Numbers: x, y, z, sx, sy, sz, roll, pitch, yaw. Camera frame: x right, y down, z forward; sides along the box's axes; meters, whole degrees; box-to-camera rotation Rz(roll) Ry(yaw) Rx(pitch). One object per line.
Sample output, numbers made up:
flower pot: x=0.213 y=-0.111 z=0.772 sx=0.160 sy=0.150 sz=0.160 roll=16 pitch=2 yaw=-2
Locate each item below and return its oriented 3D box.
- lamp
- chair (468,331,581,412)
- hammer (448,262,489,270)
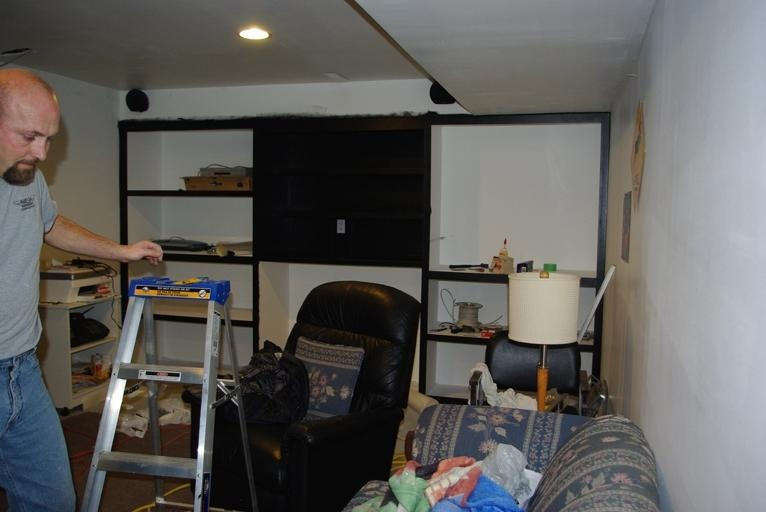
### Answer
lamp: x=0.750 y=0.422 z=2.801 sx=0.324 sy=0.688 sz=0.326 roll=3 pitch=0 yaw=-31
chair: x=0.887 y=0.688 z=3.650 sx=0.492 sy=0.648 sz=0.591 roll=0 pitch=-12 yaw=15
hammer: x=0.687 y=0.088 z=4.674 sx=0.207 sy=0.054 sz=0.113 roll=-1 pitch=2 yaw=-14
